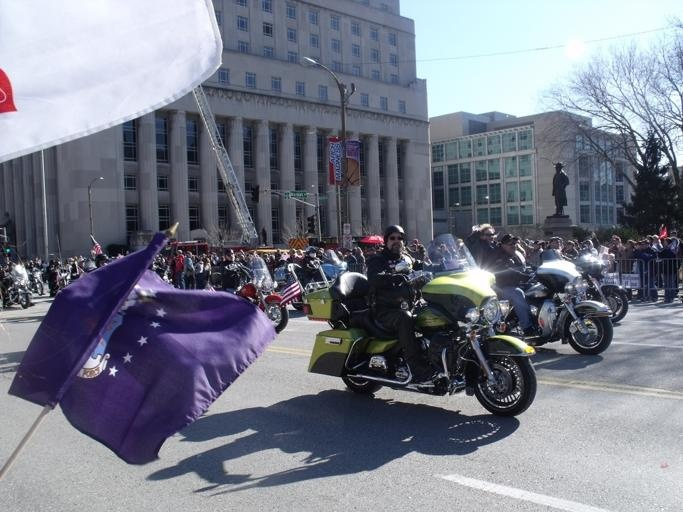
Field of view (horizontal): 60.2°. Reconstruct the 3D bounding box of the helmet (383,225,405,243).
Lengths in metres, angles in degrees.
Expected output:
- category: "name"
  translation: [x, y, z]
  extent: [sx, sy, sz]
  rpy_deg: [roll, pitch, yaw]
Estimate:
- category: "helmet"
  translation: [0.679, -0.276, 7.380]
  extent: [0.199, 0.222, 0.226]
  rpy_deg: [-1, 6, -15]
